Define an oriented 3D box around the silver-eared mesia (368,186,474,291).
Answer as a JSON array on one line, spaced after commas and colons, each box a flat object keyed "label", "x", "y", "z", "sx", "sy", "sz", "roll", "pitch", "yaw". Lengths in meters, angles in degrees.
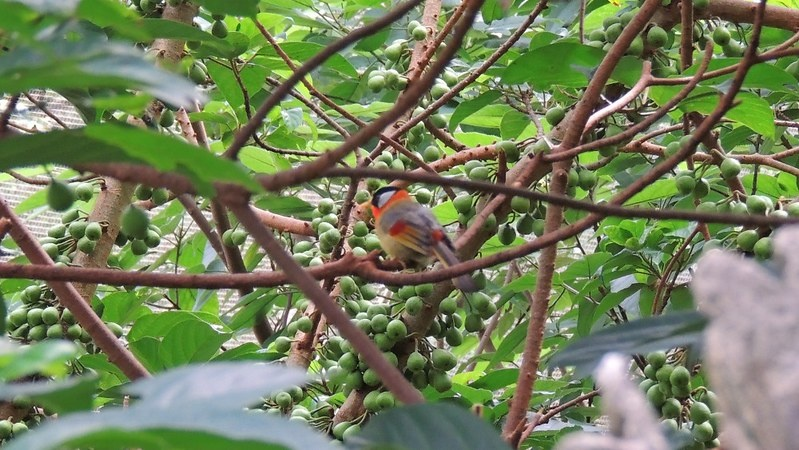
[{"label": "silver-eared mesia", "x": 0.028, "y": 0.036, "z": 3.562, "sx": 0.223, "sy": 0.716, "sz": 0.281, "roll": -3, "pitch": -67, "yaw": -33}]
